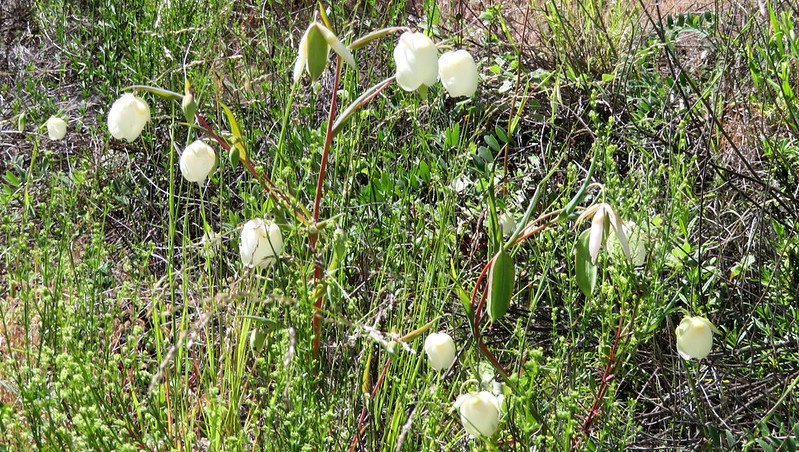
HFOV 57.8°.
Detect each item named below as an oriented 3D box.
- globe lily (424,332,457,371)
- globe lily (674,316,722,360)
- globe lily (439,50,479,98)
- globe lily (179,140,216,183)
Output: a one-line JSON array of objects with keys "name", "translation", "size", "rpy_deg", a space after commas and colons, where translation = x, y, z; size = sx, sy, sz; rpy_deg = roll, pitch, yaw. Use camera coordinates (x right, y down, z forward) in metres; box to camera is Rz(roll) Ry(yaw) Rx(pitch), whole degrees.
[{"name": "globe lily", "translation": [0.120, 0.377, 2.247], "size": [0.088, 0.126, 0.101], "rpy_deg": [-4, 12, 19]}, {"name": "globe lily", "translation": [0.905, 0.339, 2.213], "size": [0.094, 0.154, 0.145], "rpy_deg": [7, 26, 7]}, {"name": "globe lily", "translation": [0.187, -0.489, 2.347], "size": [0.121, 0.144, 0.098], "rpy_deg": [-7, 24, 4]}, {"name": "globe lily", "translation": [-0.662, -0.204, 2.372], "size": [0.095, 0.149, 0.104], "rpy_deg": [-7, 13, -33]}]
